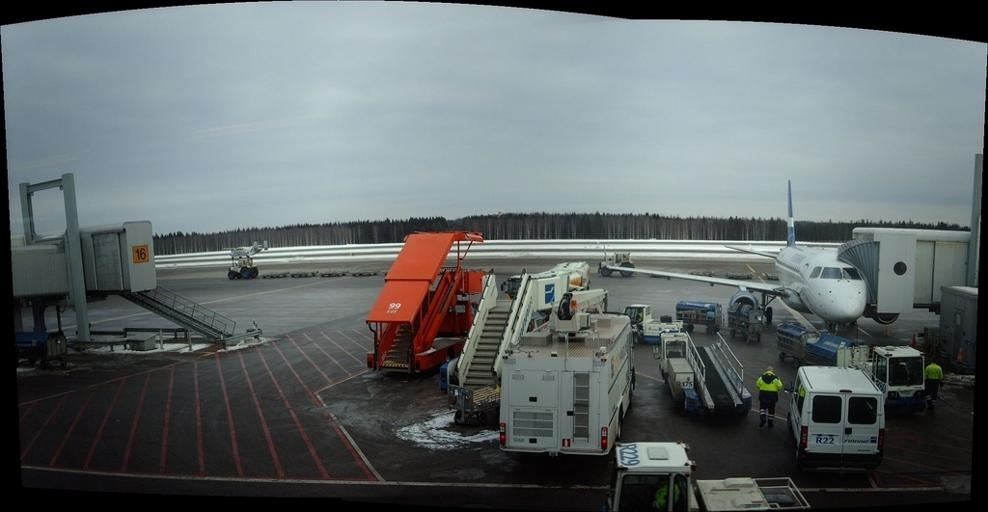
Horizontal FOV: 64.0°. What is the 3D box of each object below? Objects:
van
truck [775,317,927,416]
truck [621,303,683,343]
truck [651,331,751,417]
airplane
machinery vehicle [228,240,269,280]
[{"bbox_3d":[17.198,7.875,39.763,4.093,3.716,9.844,0,0,20],"label":"van"},{"bbox_3d":[20.788,6.172,47.597,3.811,3.067,10.417,-5,7,-13],"label":"truck"},{"bbox_3d":[10.643,4.641,54.464,4.310,2.064,2.715,1,4,13],"label":"truck"},{"bbox_3d":[11.838,6.555,44.941,3.859,3.815,5.201,-2,8,-3],"label":"truck"},{"bbox_3d":[20.132,2.340,57.267,8.353,6.129,14.403,-2,8,-1],"label":"airplane"},{"bbox_3d":[-28.733,0.532,92.011,4.413,3.928,3.628,-6,-2,26],"label":"machinery vehicle"}]
